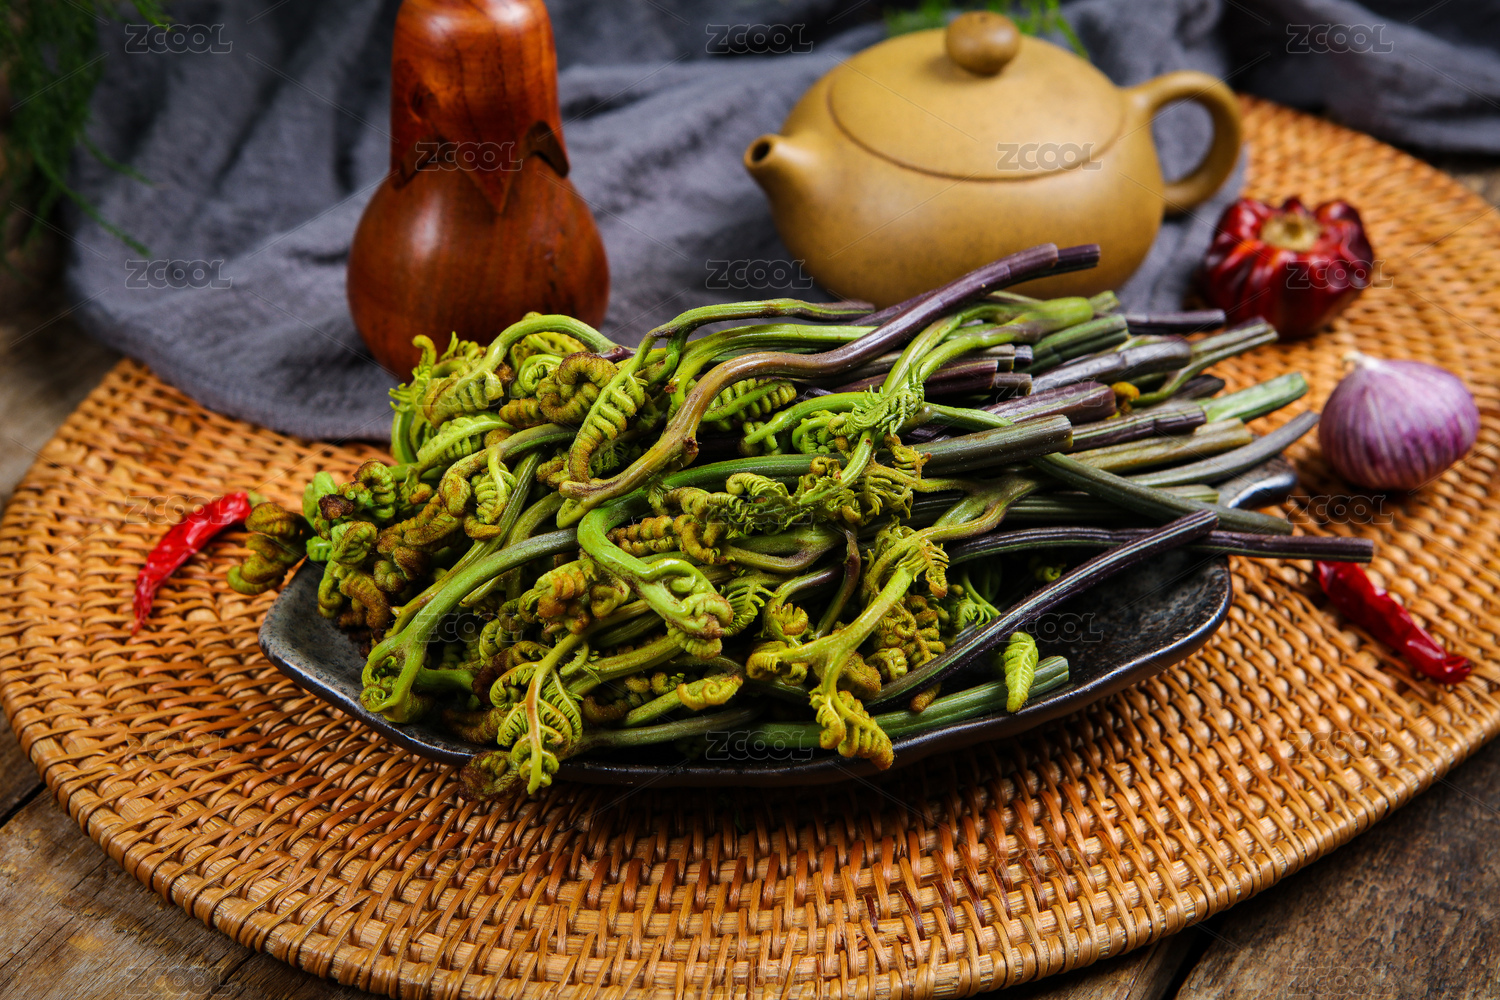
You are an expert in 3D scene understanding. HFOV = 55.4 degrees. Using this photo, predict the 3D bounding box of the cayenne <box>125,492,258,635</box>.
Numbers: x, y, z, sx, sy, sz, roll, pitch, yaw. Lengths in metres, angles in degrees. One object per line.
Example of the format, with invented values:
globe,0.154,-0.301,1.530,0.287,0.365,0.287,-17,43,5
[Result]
cayenne,-0.670,0.055,1.685,0.061,0.044,0.193,26,49,12

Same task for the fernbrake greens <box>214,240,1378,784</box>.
fernbrake greens,0.041,0.022,1.456,1.170,0.306,0.527,-9,67,-6

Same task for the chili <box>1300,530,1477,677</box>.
chili,0.717,0.137,1.600,0.181,0.043,0.057,41,30,29

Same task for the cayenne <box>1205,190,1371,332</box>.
cayenne,0.712,-0.308,1.934,0.187,0.144,0.203,-3,35,-1
